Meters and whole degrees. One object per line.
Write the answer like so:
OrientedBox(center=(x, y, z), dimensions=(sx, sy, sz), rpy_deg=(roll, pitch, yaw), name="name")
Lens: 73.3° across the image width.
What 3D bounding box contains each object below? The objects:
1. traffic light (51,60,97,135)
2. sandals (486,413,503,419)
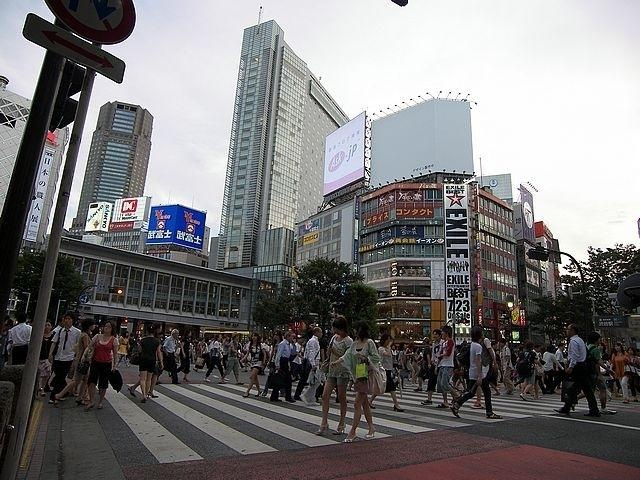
OrientedBox(center=(-3.188, -1.857, 5.413), dimensions=(0.307, 1.014, 0.867), rpy_deg=(7, -10, -33), name="traffic light")
OrientedBox(center=(3.982, 4.013, 9.779), dimensions=(0.332, 0.141, 0.167), rpy_deg=(-6, -16, 20), name="sandals")
